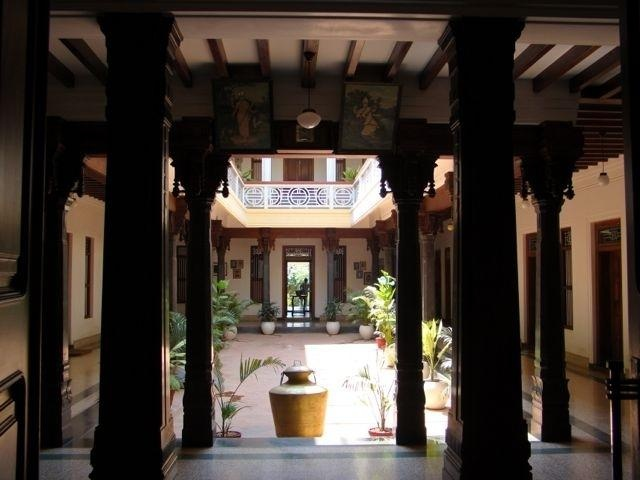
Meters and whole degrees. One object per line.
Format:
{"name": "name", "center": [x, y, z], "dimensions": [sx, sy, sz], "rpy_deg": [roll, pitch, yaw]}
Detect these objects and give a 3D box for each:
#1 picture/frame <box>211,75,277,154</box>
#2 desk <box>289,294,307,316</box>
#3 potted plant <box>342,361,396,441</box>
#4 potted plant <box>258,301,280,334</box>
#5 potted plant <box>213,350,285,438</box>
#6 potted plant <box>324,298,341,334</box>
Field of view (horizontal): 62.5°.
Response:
{"name": "picture/frame", "center": [-0.755, -1.239, 5.114], "dimensions": [0.792, 0.932, 0.132], "rpy_deg": [1, 34, -2]}
{"name": "desk", "center": [-0.933, 2.813, 22.658], "dimensions": [0.900, 1.312, 0.994], "rpy_deg": [1, -12, -5]}
{"name": "potted plant", "center": [0.676, 2.008, 6.291], "dimensions": [0.536, 0.751, 0.707], "rpy_deg": [12, -23, -33]}
{"name": "potted plant", "center": [-1.531, 2.301, 15.497], "dimensions": [0.519, 0.883, 0.739], "rpy_deg": [2, -6, -6]}
{"name": "potted plant", "center": [-1.087, 1.843, 6.234], "dimensions": [0.838, 0.820, 0.627], "rpy_deg": [7, -20, 4]}
{"name": "potted plant", "center": [0.397, 2.292, 15.884], "dimensions": [0.423, 1.005, 1.024], "rpy_deg": [1, -6, 3]}
